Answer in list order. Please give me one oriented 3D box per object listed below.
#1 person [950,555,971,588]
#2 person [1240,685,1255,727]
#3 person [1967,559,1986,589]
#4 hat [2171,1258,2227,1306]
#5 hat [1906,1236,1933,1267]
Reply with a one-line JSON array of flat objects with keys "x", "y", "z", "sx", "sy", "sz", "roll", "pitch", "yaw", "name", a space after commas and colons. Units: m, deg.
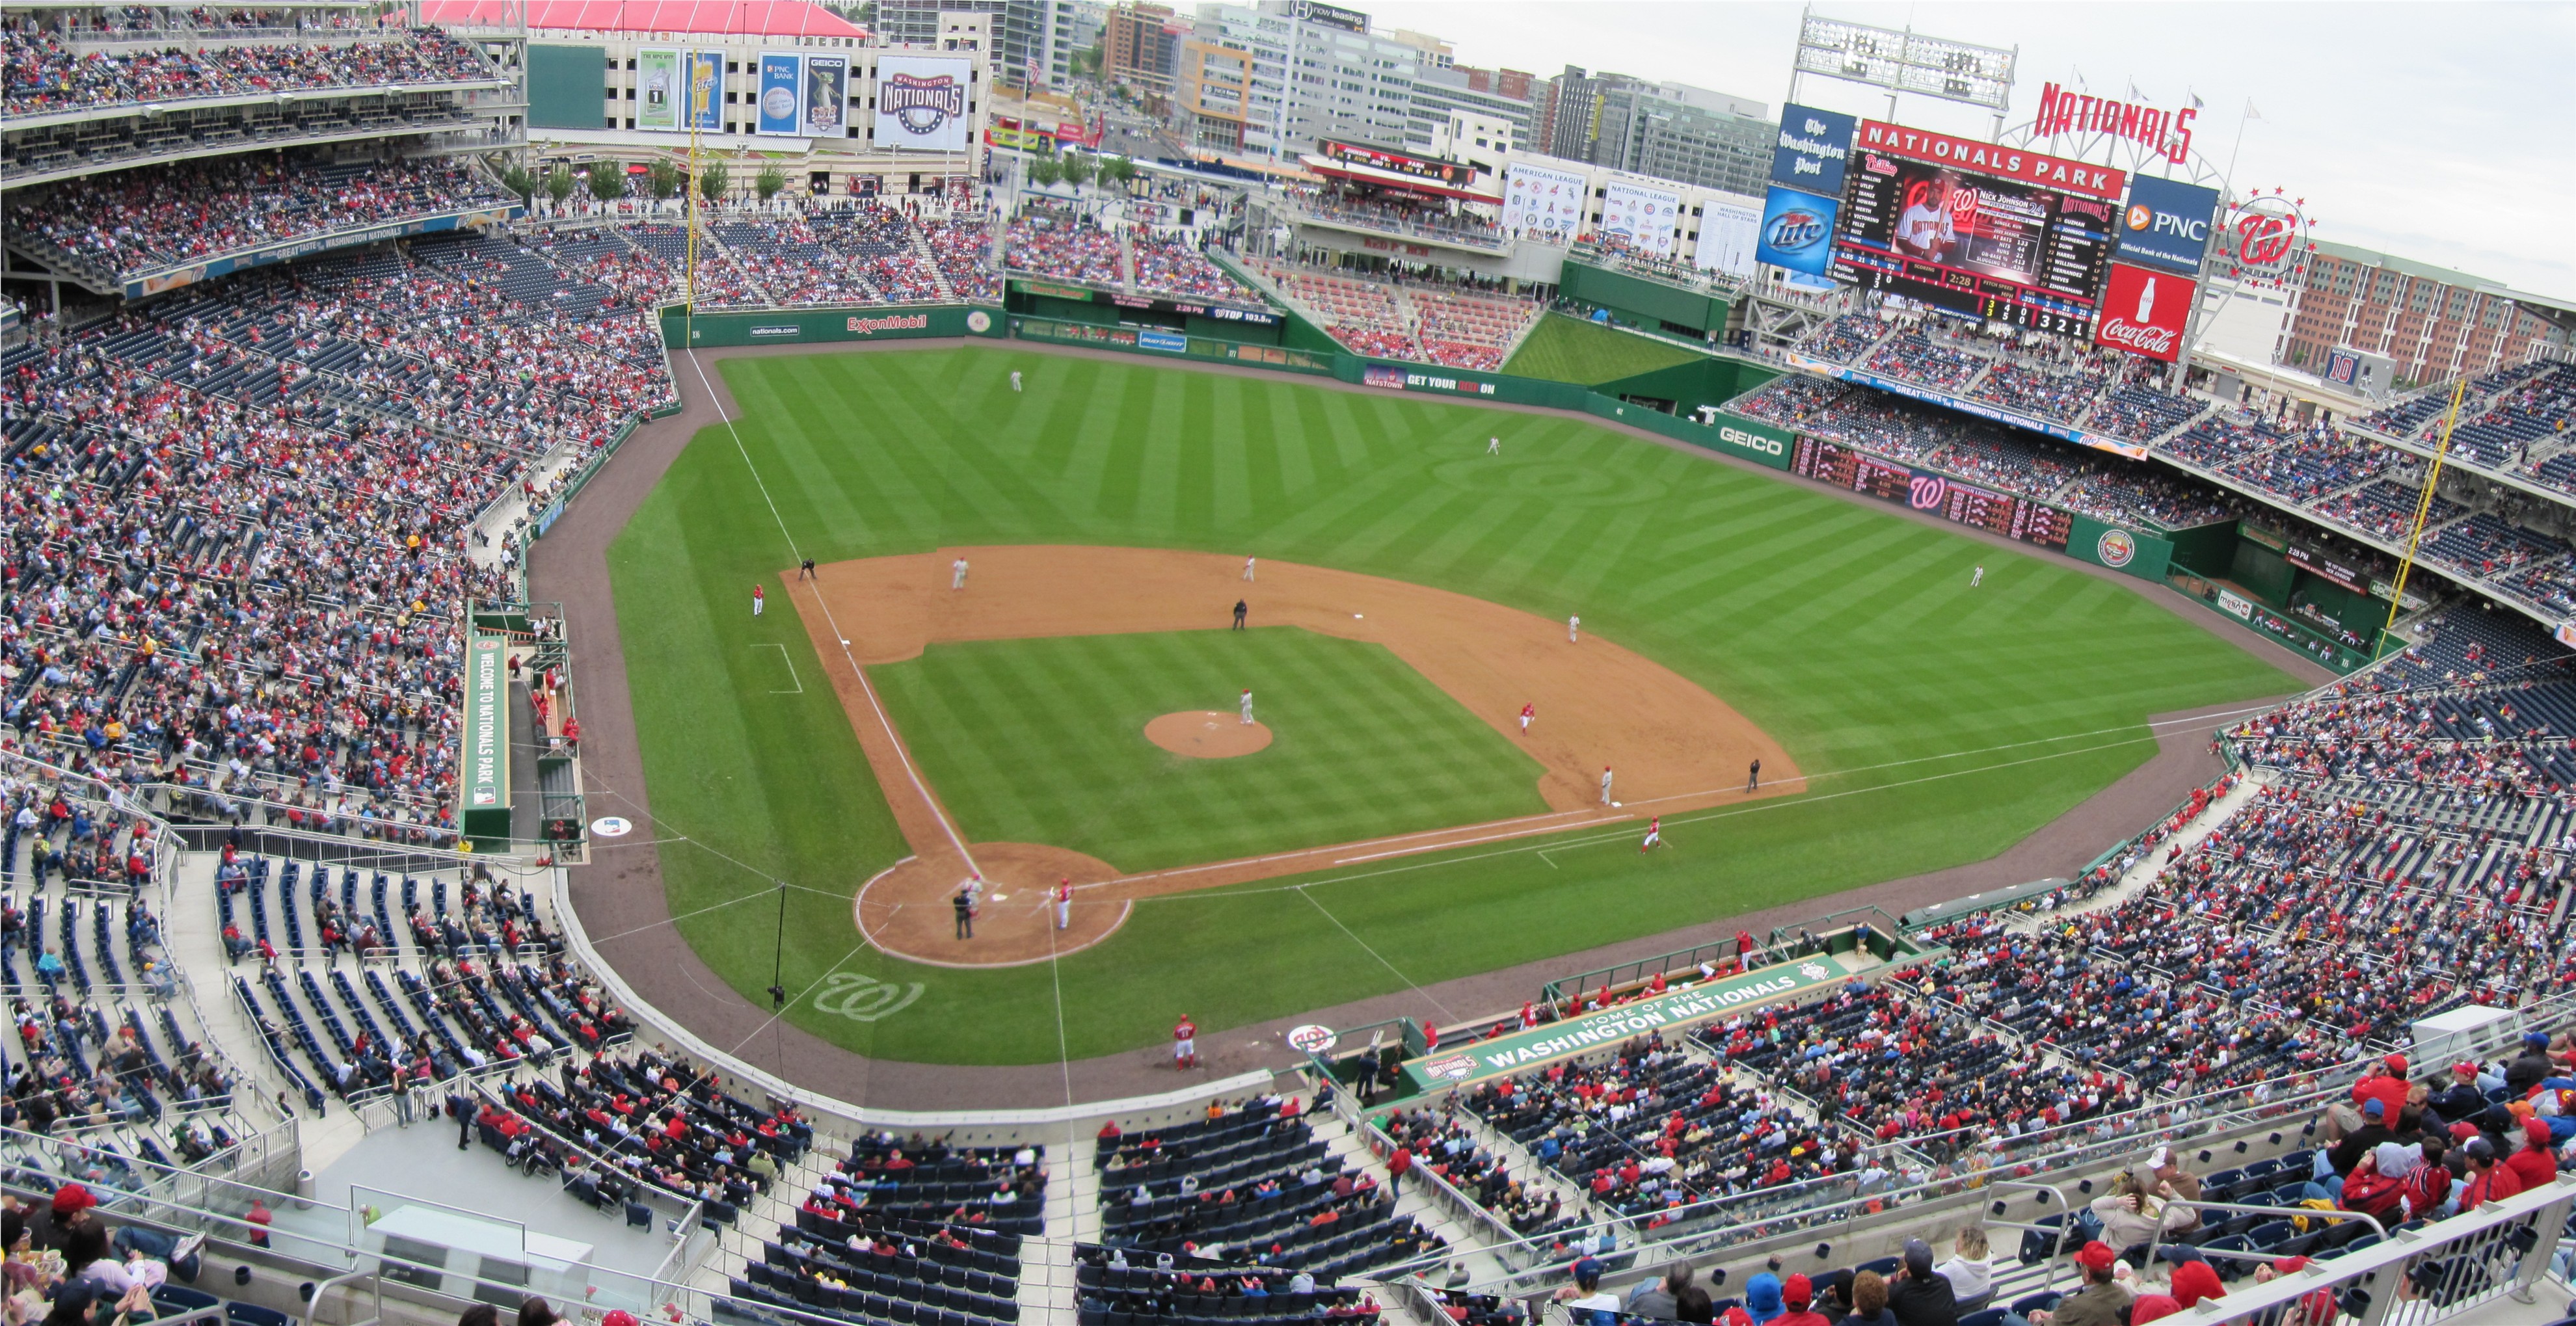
[{"x": -14.337, "y": -3.912, "z": 89.815, "sx": 0.929, "sy": 1.085, "sz": 2.055, "roll": 8, "pitch": 6, "yaw": -5, "name": "person"}, {"x": -1.645, "y": 1.735, "z": 82.067, "sx": 0.512, "sy": 1.301, "sz": 0.604, "roll": -5, "pitch": 12, "yaw": 11, "name": "person"}, {"x": 33.847, "y": -4.275, "z": 100.674, "sx": 1.260, "sy": 1.103, "sz": 1.089, "roll": -6, "pitch": 34, "yaw": 1, "name": "person"}, {"x": 20.765, "y": 14.044, "z": 47.011, "sx": 1.021, "sy": 1.127, "sz": 1.106, "roll": -6, "pitch": 68, "yaw": -3, "name": "hat"}, {"x": 14.758, "y": 13.666, "z": 48.000, "sx": 0.714, "sy": 0.623, "sz": 0.498, "roll": 15, "pitch": 39, "yaw": 4, "name": "hat"}]
